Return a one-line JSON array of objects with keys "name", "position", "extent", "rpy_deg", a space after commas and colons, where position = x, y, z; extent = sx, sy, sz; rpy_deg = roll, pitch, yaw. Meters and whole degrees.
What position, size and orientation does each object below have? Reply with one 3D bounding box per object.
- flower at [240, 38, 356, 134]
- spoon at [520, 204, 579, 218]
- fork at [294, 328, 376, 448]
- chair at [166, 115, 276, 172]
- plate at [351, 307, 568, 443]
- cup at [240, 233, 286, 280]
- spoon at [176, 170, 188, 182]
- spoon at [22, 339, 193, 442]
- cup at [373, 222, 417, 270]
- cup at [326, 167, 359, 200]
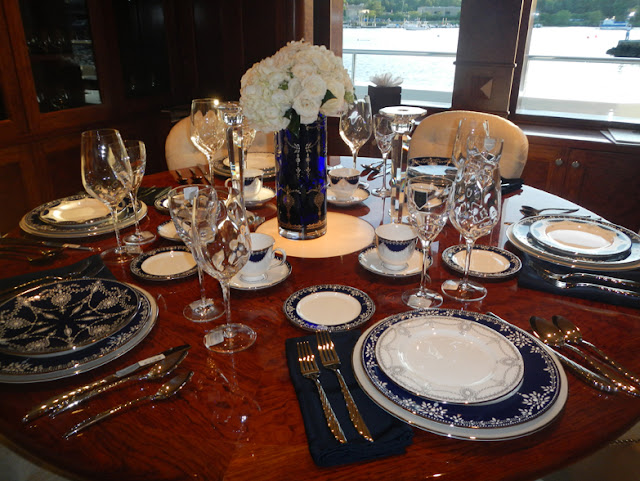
[{"name": "flower", "position": [-0.062, -0.418, 1.261], "extent": [0.269, 0.191, 0.253], "rpy_deg": [-8, 21, -9]}, {"name": "spoon", "position": [0.758, -0.092, 1.510], "extent": [0.177, 0.029, 0.043], "rpy_deg": [-1, 32, 0]}, {"name": "fork", "position": [0.018, 0.269, 0.852], "extent": [0.065, 0.025, 0.234], "rpy_deg": [-2, 40, -19]}, {"name": "chair", "position": [-0.527, -0.419, 2.275], "extent": [0.407, 0.383, 0.417], "rpy_deg": [-2, 4, -6]}, {"name": "plate", "position": [0.255, 0.244, 0.853], "extent": [0.237, 0.033, 0.237], "rpy_deg": [-23, 36, -29]}, {"name": "cup", "position": [-0.145, 0.050, 1.182], "extent": [0.123, 0.089, 0.092], "rpy_deg": [17, 39, 11]}, {"name": "spoon", "position": [-0.550, -0.264, 1.832], "extent": [0.037, 0.020, 0.132], "rpy_deg": [-5, 29, -19]}, {"name": "spoon", "position": [-0.371, 0.271, 0.896], "extent": [0.104, 0.039, 0.351], "rpy_deg": [29, 38, 32]}, {"name": "cup", "position": [0.202, 0.020, 1.247], "extent": [0.103, 0.094, 0.118], "rpy_deg": [-3, 20, -7]}, {"name": "cup", "position": [0.086, -0.204, 1.632], "extent": [0.090, 0.085, 0.117], "rpy_deg": [-1, 24, 0]}]
